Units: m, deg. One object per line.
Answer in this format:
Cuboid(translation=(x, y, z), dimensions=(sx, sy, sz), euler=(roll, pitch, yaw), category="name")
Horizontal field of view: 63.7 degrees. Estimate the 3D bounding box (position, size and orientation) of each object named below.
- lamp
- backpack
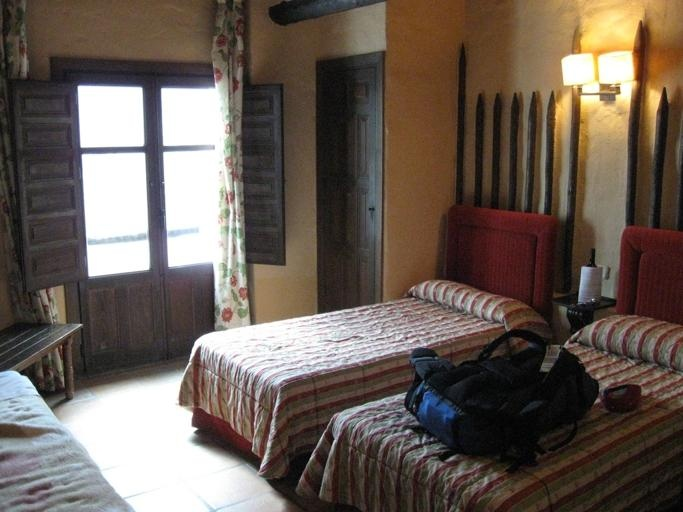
Cuboid(translation=(1.818, -1.304, 3.935), dimensions=(0.328, 0.419, 0.566), euler=(-15, 13, -35), category="lamp")
Cuboid(translation=(0.801, 0.682, 2.736), dimensions=(0.720, 0.328, 0.689), euler=(-14, 18, -22), category="backpack")
